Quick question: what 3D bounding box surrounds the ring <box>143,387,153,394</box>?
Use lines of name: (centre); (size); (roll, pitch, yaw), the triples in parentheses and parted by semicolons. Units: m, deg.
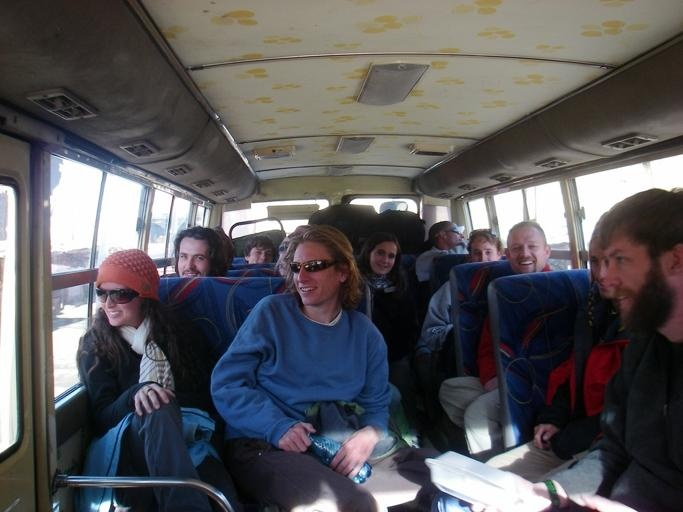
ring: (-1.013, 0.701, 2.591); (0.029, 0.013, 0.038); (2, -2, -4)

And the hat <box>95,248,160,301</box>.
hat: (-1.185, 0.102, 2.908); (0.254, 0.293, 0.336); (0, -26, 5)
